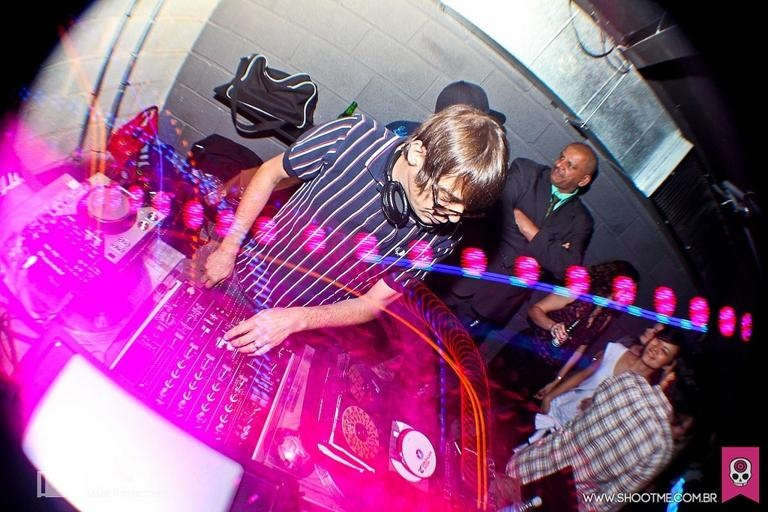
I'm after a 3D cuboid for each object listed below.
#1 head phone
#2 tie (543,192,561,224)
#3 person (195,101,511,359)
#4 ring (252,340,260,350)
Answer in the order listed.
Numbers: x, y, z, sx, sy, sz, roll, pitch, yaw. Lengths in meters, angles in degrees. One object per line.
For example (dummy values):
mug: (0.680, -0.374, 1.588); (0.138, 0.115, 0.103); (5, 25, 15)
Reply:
head phone: (0.183, -0.448, 3.035); (0.329, 0.417, 0.133); (39, -37, -29)
tie: (1.719, -0.500, 4.646); (0.142, 0.321, 0.036); (25, -1, -21)
person: (-0.306, -0.269, 3.351); (1.140, 2.647, 1.067); (38, 28, -41)
ring: (-0.733, 0.517, 2.600); (0.036, 0.037, 0.011); (18, -18, -32)
